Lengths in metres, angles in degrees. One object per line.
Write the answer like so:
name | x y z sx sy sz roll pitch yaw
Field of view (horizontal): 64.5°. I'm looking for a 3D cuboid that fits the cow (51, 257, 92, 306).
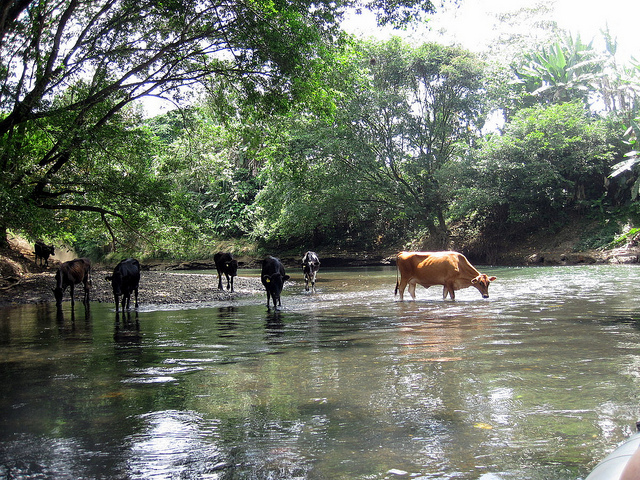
cow | -9.470 1.519 19.349 0.801 1.720 2.668 -2 0 -12
